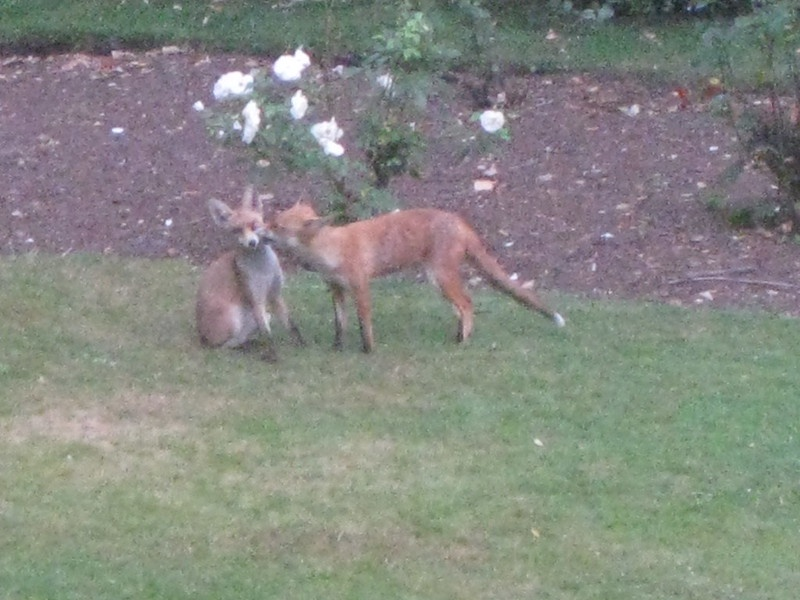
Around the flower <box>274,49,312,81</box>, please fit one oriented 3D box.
[{"bbox_3d":[-1.426,-3.155,15.600,0.447,0.128,0.377,-28,84,4],"label":"flower"}]

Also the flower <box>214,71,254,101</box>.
[{"bbox_3d":[-2.226,-2.883,15.609,0.568,0.075,0.372,-7,77,-4],"label":"flower"}]

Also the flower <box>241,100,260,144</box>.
[{"bbox_3d":[-1.969,-2.361,15.391,0.252,0.111,0.511,5,84,8],"label":"flower"}]
